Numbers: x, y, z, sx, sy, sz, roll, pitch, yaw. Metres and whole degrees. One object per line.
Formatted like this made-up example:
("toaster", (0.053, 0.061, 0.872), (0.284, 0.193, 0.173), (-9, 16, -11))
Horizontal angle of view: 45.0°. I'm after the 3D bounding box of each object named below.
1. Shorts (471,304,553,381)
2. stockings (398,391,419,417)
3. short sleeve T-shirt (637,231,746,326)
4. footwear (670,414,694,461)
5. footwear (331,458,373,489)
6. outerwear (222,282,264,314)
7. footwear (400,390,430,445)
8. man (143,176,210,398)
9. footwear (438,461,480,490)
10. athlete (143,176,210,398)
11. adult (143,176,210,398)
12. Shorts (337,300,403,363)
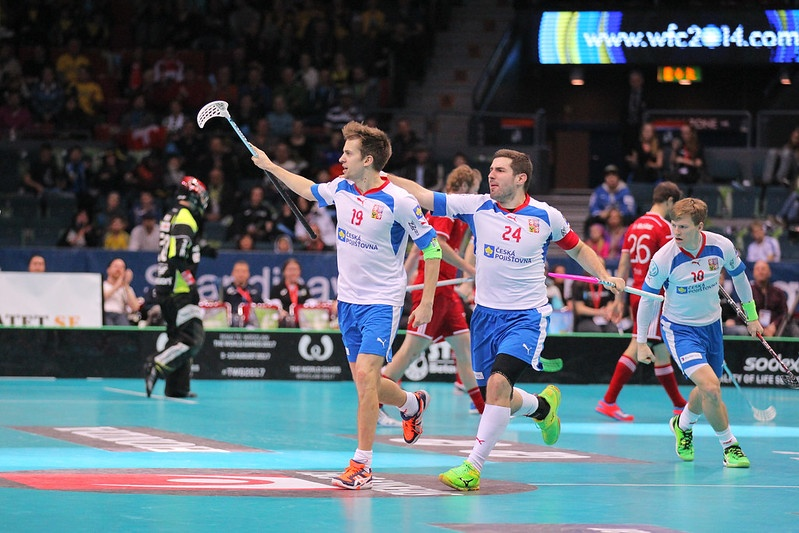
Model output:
("Shorts", (1.079, 0.803, 9.591), (0.786, 0.865, 0.484), (2, 4, 7))
("stockings", (0.095, 1.498, 10.384), (0.122, 0.315, 0.141), (-6, -11, 27))
("short sleeve T-shirt", (3.255, 0.132, 10.961), (1.562, 1.201, 0.591), (-4, 3, 0))
("footwear", (3.130, 1.934, 10.700), (0.200, 0.556, 0.224), (-9, -12, -8))
("footwear", (-0.416, 1.971, 9.229), (0.454, 0.275, 0.223), (0, 4, -31))
("outerwear", (-2.610, 0.504, 15.860), (0.779, 0.755, 0.418), (-2, -15, -9))
("footwear", (0.139, 1.674, 10.597), (0.309, 0.666, 0.231), (15, -7, -42))
("man", (-3.014, 0.287, 13.043), (0.750, 2.969, 0.397), (1, 4, -12))
("footwear", (0.575, 2.001, 9.263), (0.370, 0.264, 0.197), (2, 4, 4))
("athlete", (-3.008, 0.287, 13.042), (0.742, 2.969, 0.394), (1, 4, -13))
("adult", (-3.008, 0.287, 13.042), (0.742, 2.969, 0.394), (1, 4, -13))
("Shorts", (-0.314, 0.664, 9.530), (0.626, 0.618, 0.378), (2, 4, 4))
